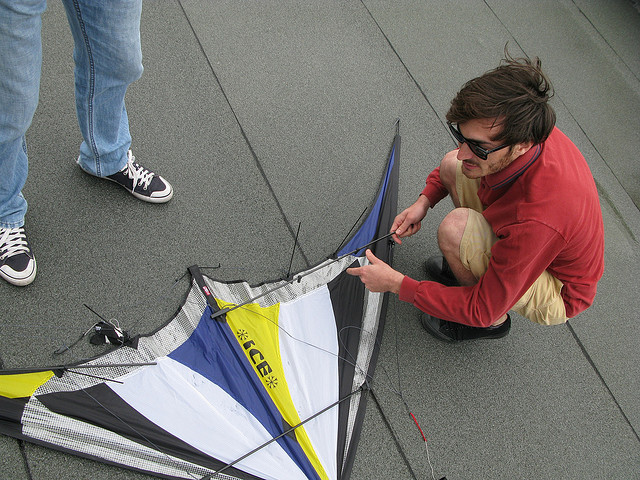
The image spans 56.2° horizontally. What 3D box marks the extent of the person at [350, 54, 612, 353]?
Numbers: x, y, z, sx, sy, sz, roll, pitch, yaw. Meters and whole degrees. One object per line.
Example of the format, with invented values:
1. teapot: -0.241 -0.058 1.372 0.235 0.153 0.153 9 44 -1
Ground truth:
1. person: 0.812 -0.139 3.267 1.044 1.439 1.176 3 64 5

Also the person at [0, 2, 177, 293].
1. person: -1.213 -0.407 3.108 0.541 1.511 0.937 46 60 9
